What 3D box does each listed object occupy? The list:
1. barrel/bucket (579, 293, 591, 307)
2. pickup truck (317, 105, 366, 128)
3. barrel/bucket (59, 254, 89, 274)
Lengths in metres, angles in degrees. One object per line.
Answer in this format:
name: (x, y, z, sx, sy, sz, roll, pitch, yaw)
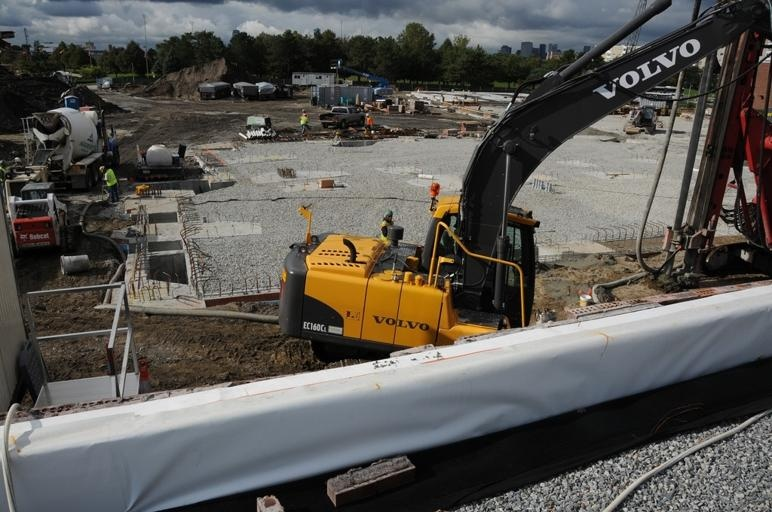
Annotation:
barrel/bucket: (3.561, 0.790, 9.626, 0.255, 0.235, 0.307, 1, 5, 23)
pickup truck: (-2.909, -9.512, 37.781, 2.893, 1.087, 1.651, -18, 29, -35)
barrel/bucket: (-8.233, 0.120, 14.255, 0.722, 0.514, 0.591, -8, 58, -28)
